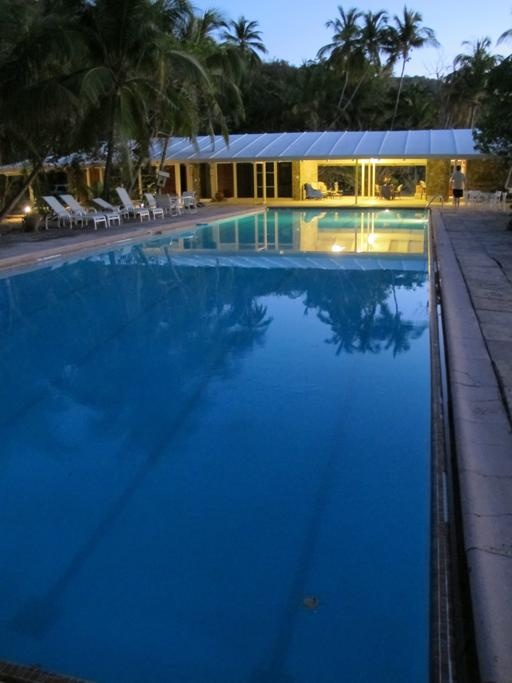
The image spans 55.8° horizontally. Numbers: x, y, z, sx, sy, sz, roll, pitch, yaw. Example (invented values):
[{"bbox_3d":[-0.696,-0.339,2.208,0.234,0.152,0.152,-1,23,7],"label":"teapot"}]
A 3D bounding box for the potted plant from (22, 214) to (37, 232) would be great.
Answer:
[{"bbox_3d":[-7.423,-3.904,16.140,0.437,0.574,0.527,1,3,-2],"label":"potted plant"}]

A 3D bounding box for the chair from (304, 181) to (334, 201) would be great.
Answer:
[{"bbox_3d":[3.645,-8.871,28.539,1.164,0.980,2.277,6,14,29],"label":"chair"}]
